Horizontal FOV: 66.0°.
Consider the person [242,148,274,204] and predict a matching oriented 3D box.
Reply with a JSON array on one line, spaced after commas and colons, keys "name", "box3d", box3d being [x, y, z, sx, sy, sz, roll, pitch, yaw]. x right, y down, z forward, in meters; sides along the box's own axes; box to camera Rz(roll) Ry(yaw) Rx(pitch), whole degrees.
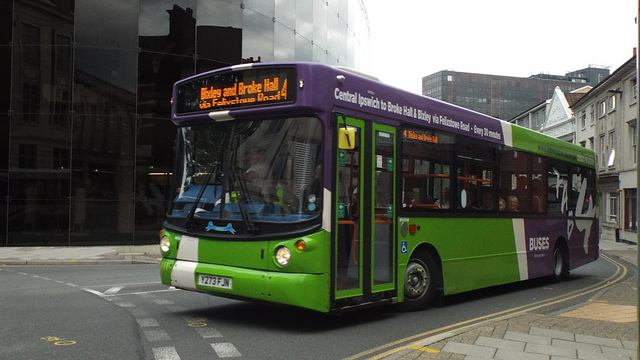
[{"name": "person", "box3d": [-1.369, -0.063, 11.099, 0.436, 1.154, 0.763, -6, -9, 9]}]
